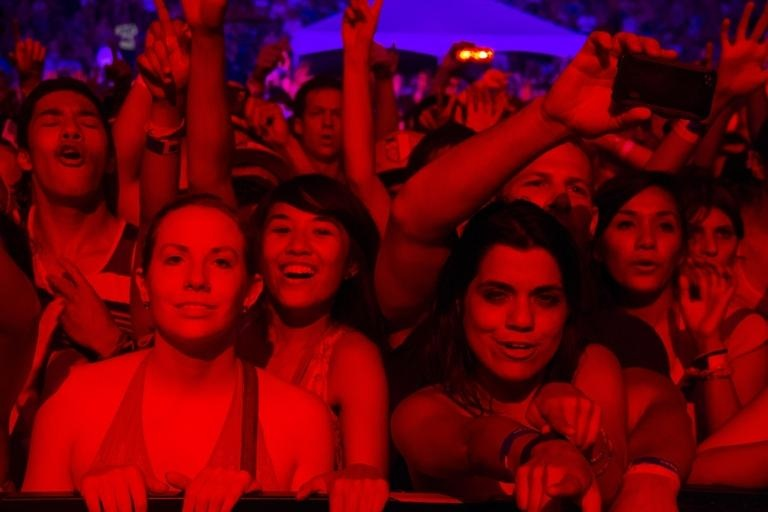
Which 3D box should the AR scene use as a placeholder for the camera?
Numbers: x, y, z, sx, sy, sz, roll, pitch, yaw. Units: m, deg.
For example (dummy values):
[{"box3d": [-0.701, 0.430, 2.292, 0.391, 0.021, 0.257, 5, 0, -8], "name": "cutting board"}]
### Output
[{"box3d": [1.514, -0.909, 4.861, 0.668, 0.325, 0.177, 0, 12, -32], "name": "camera"}]
